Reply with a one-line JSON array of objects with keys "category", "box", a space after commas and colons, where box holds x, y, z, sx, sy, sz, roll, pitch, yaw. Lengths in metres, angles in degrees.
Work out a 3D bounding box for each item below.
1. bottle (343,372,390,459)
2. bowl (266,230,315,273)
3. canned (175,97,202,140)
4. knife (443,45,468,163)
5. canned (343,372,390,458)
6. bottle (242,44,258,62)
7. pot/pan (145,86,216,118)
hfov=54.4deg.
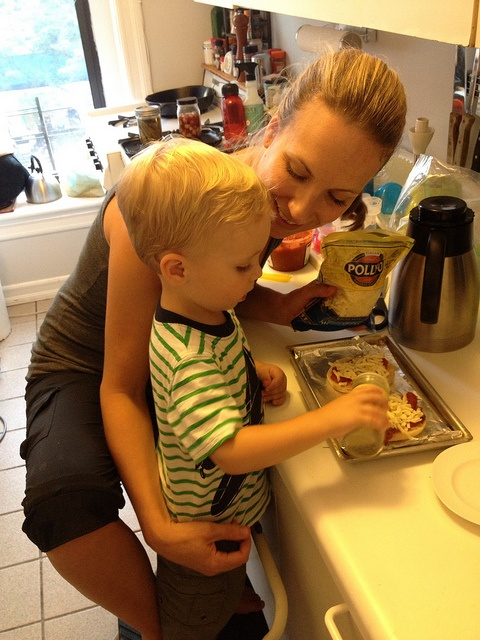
[{"category": "bottle", "box": [0.148, 0.117, 0.548, 0.049, 0.044, 0.104, 8, 31, 17]}, {"category": "bowl", "box": [0.125, -0.163, 1.131, 0.105, 0.076, 0.104, -4, 31, 3]}, {"category": "canned", "box": [-0.265, -0.981, 2.290, 0.111, 0.169, 0.108, -2, 26, 9]}, {"category": "knife", "box": [0.444, -0.433, 0.963, 0.035, 0.239, 0.018, 4, 9, -11]}, {"category": "canned", "box": [0.148, 0.116, 0.547, 0.045, 0.044, 0.103, 30, 37, 2]}, {"category": "bottle", "box": [0.059, -1.417, 2.481, 0.076, 0.085, 0.077, 17, 50, 19]}, {"category": "pot/pan", "box": [-0.392, -1.442, 3.014, 0.378, 0.133, 0.512, 26, 43, 34]}]
